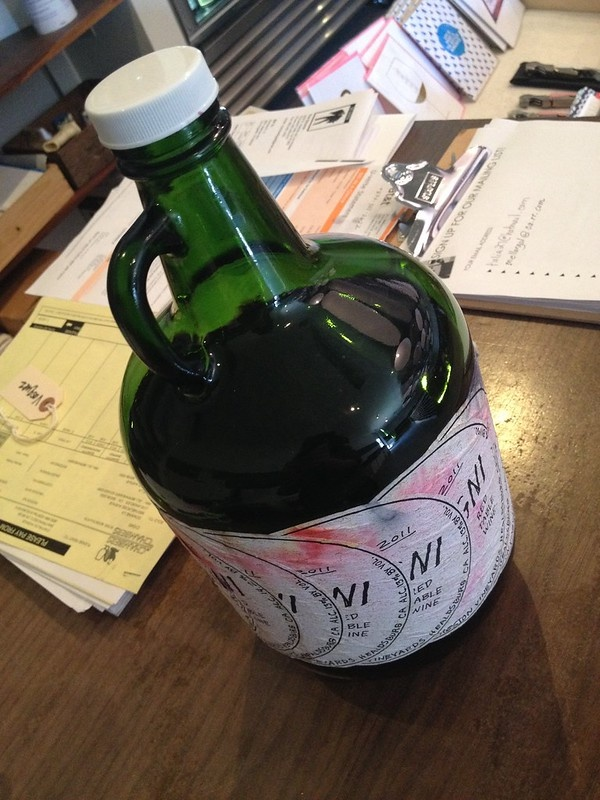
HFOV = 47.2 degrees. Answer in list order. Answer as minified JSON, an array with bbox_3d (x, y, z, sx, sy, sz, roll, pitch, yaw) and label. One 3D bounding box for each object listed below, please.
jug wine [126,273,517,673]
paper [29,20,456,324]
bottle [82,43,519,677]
[{"bbox_3d":[0.036,0.028,0.366,0.150,0.150,0.137,-42,43,-5],"label":"jug wine"},{"bbox_3d":[-0.013,-0.260,0.765,0.452,0.071,0.364,-3,51,32],"label":"paper"},{"bbox_3d":[-0.009,-0.010,0.302,0.168,0.253,0.152,-28,35,-10],"label":"bottle"}]
